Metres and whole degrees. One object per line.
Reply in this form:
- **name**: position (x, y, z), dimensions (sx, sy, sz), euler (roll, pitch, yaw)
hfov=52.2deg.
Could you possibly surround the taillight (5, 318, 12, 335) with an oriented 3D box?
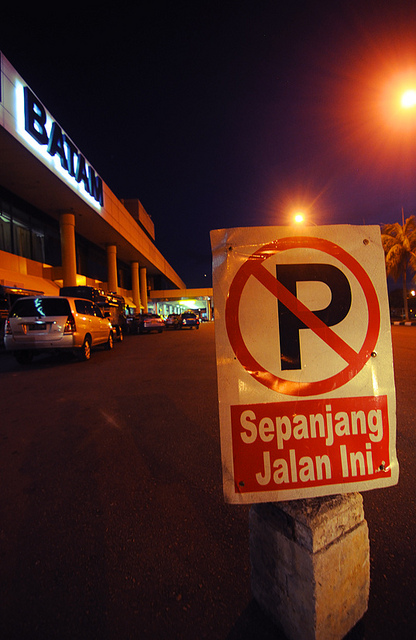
- **taillight**: position (-3.811, 0.150, 8.133), dimensions (0.137, 0.300, 0.080), euler (1, 3, 34)

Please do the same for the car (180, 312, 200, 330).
- **car**: position (-1.268, 0.103, 28.343), dimensions (1.131, 0.867, 0.989), euler (-1, 3, -3)

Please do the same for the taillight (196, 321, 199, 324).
- **taillight**: position (-0.712, 0.236, 28.367), dimensions (0.093, 0.194, 0.126), euler (1, -3, -5)

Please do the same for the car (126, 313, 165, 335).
- **car**: position (-3.474, 0.305, 23.321), dimensions (1.866, 1.131, 1.372), euler (-1, 3, -8)

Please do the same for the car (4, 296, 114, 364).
- **car**: position (-3.024, 0.210, 9.305), dimensions (1.187, 1.440, 2.924), euler (0, 4, 17)

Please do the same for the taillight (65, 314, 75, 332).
- **taillight**: position (-2.707, 0.084, 8.372), dimensions (0.150, 0.515, 0.218), euler (1, -3, 11)
